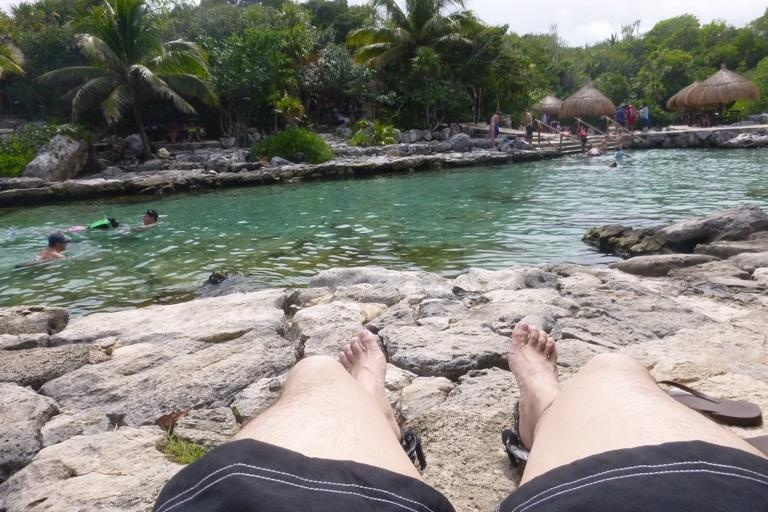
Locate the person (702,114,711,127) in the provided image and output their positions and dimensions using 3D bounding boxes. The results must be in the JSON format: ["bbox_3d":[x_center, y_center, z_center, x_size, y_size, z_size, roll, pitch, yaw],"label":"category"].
[{"bbox_3d":[19.547,-8.214,33.360,0.353,0.759,1.590,2,15,29],"label":"person"}]

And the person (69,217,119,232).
[{"bbox_3d":[-6.118,-0.664,11.678,1.054,0.400,0.300,2,32,-21],"label":"person"}]

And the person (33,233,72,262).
[{"bbox_3d":[-5.711,-0.184,9.498,0.430,0.388,0.736,-12,15,-23],"label":"person"}]

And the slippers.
[{"bbox_3d":[2.081,0.957,3.656,0.340,0.142,0.664,-4,5,-34],"label":"slippers"}]

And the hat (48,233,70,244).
[{"bbox_3d":[-5.603,-0.296,9.637,0.249,0.173,0.367,20,21,35],"label":"hat"}]
